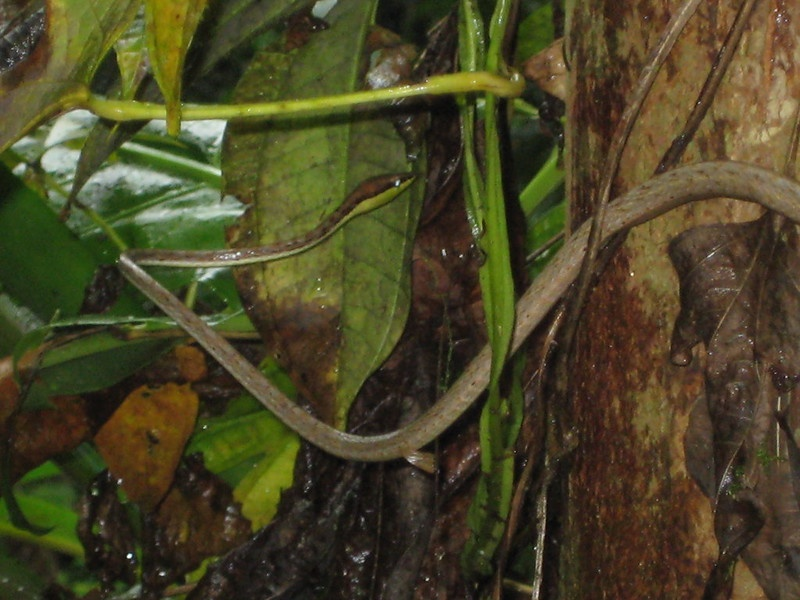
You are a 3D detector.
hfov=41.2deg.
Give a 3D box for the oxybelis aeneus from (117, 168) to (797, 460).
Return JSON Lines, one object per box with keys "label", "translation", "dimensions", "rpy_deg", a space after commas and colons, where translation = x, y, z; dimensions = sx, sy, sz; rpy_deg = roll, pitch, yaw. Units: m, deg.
{"label": "oxybelis aeneus", "translation": [0.047, 0.023, 1.576], "dimensions": [1.019, 0.415, 0.256], "rpy_deg": [3, -25, 26]}
